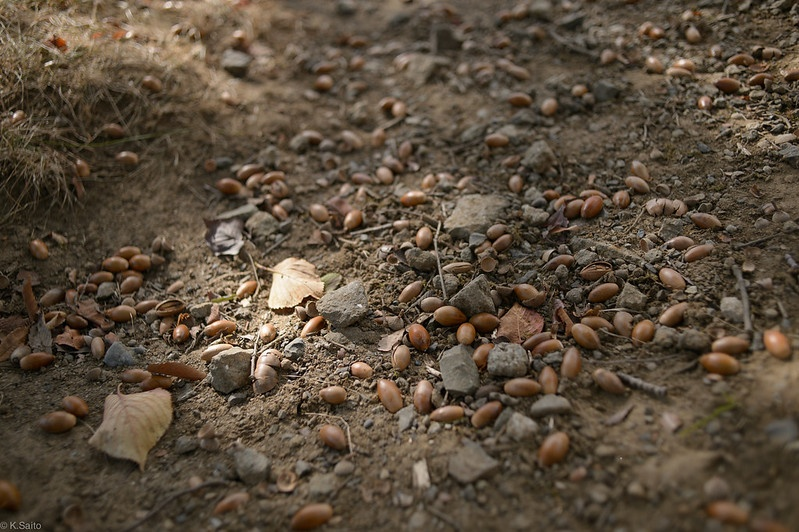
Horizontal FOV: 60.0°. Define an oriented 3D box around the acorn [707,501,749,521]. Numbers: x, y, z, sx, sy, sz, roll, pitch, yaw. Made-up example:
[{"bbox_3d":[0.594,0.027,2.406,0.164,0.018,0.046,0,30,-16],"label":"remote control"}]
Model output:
[{"bbox_3d":[1.916,1.436,4.045,0.197,0.069,0.113,5,86,3],"label":"acorn"}]
